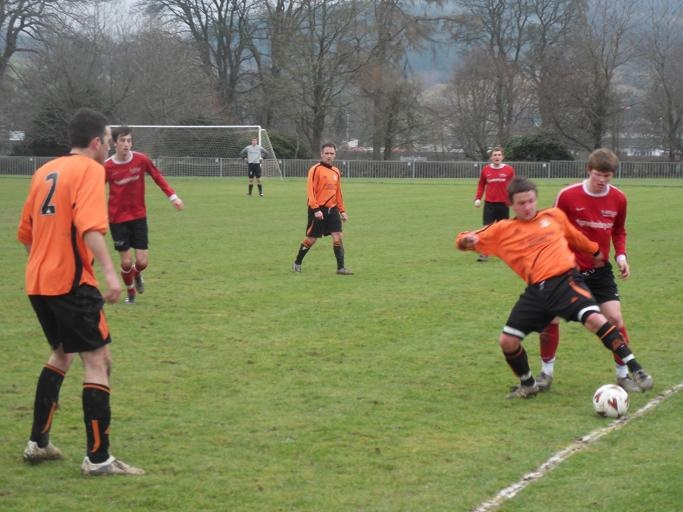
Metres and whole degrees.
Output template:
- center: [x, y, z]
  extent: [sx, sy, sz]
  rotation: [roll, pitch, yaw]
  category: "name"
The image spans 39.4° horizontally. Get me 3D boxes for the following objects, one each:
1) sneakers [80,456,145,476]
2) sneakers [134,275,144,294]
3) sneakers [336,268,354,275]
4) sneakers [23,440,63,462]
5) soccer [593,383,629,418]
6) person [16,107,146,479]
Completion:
- center: [-1.939, 1.786, 8.120]
  extent: [0.569, 0.181, 0.188]
  rotation: [1, 0, -6]
  category: "sneakers"
- center: [-2.699, 0.368, 12.766]
  extent: [0.106, 0.279, 0.117]
  rotation: [-18, 3, -6]
  category: "sneakers"
- center: [0.049, 0.231, 14.285]
  extent: [0.261, 0.097, 0.083]
  rotation: [0, 7, 11]
  category: "sneakers"
- center: [-2.577, 1.672, 8.232]
  extent: [0.318, 0.118, 0.154]
  rotation: [-1, 6, -28]
  category: "sneakers"
- center: [2.530, 1.359, 8.941]
  extent: [0.315, 0.290, 0.177]
  rotation: [0, 3, 11]
  category: "soccer"
- center: [-2.227, 0.282, 8.150]
  extent: [1.049, 3.092, 0.510]
  rotation: [1, 4, 32]
  category: "person"
